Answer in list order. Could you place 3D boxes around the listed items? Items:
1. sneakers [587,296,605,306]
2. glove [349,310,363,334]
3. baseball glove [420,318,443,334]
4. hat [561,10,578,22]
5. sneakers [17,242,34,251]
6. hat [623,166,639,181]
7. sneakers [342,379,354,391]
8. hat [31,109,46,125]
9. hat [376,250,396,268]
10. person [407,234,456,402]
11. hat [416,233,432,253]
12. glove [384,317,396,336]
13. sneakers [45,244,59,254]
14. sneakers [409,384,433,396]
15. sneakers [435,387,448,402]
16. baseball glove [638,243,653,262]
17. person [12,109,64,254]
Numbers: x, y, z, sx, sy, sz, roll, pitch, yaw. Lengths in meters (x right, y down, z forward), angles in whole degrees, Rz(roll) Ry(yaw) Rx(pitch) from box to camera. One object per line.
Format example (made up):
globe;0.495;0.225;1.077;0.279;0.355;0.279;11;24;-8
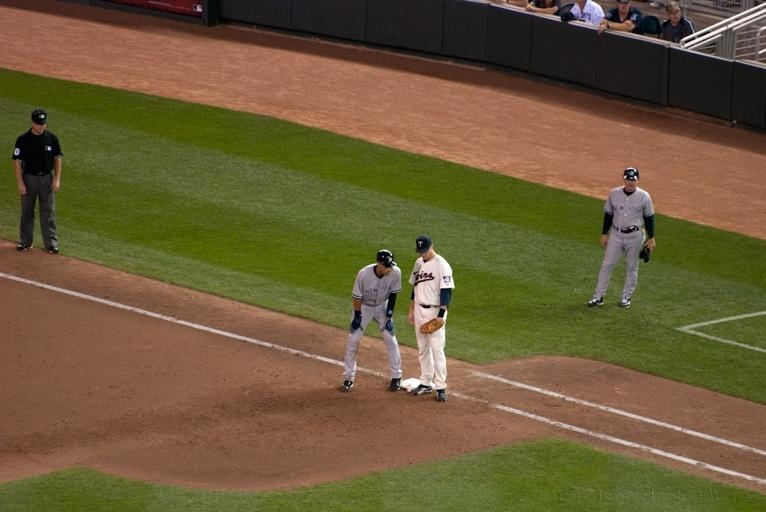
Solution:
sneakers;4.072;0.853;27.019;0.398;0.206;0.123;-1;20;0
glove;-0.455;1.095;24.012;0.166;0.386;0.130;6;13;-4
baseball glove;0.822;1.179;23.947;0.361;0.216;0.088;-18;20;1
hat;4.710;-6.025;35.565;0.450;0.309;0.212;0;14;-24
sneakers;-6.837;-0.185;26.939;0.126;0.111;0.291;9;4;42
hat;4.669;-1.527;26.539;0.232;0.205;0.406;9;12;17
sneakers;-0.606;2.192;24.131;0.218;0.153;0.406;2;-4;5
hat;-6.442;-2.586;26.401;0.221;0.286;0.691;4;11;-11
hat;-0.038;0.021;23.787;0.387;0.188;0.284;27;27;21
person;0.818;1.043;24.073;1.015;2.741;0.546;16;16;35
hat;0.681;-0.241;24.019;0.244;0.171;0.308;3;33;12
glove;0.072;1.197;24.168;0.223;0.249;0.084;-3;-1;-24
sneakers;-6.327;-0.137;26.934;0.309;0.111;0.109;18;27;21
sneakers;0.643;2.285;24.166;0.386;0.140;0.171;-1;10;-12
sneakers;0.989;2.344;24.094;0.152;0.105;0.278;-1;7;-8
baseball glove;5.044;-0.033;26.886;0.110;0.337;0.258;4;27;-42
person;-6.509;-1.389;26.589;0.912;2.717;0.597;4;14;-13
